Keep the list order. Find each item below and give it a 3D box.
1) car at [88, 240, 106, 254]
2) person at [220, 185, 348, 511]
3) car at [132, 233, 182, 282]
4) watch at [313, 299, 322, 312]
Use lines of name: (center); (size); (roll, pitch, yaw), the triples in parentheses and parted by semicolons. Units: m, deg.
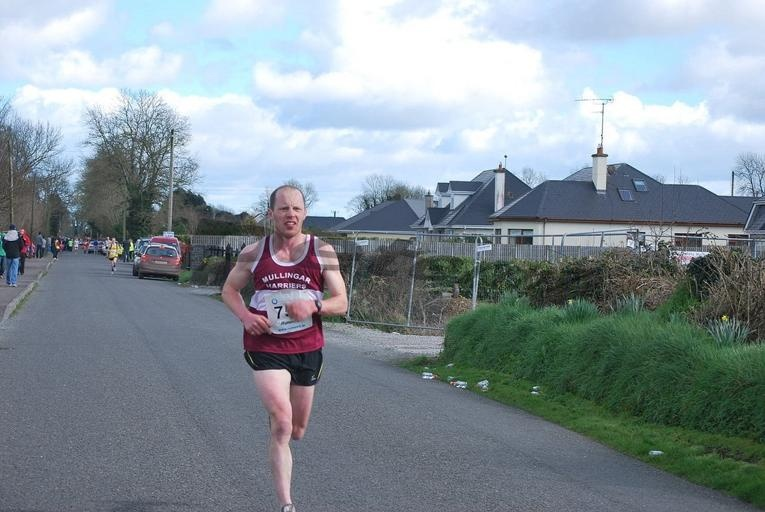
car: (-41.443, -1.284, 102.107); (1.800, 1.665, 3.401); (-1, 4, -23)
person: (-0.875, 0.811, 6.486); (1.074, 2.940, 0.630); (0, 3, -12)
car: (-12.426, 0.236, 39.103); (2.283, 2.022, 3.403); (0, 3, -21)
watch: (-0.584, 0.450, 6.415); (0.095, 0.095, 0.065); (14, 28, -31)
